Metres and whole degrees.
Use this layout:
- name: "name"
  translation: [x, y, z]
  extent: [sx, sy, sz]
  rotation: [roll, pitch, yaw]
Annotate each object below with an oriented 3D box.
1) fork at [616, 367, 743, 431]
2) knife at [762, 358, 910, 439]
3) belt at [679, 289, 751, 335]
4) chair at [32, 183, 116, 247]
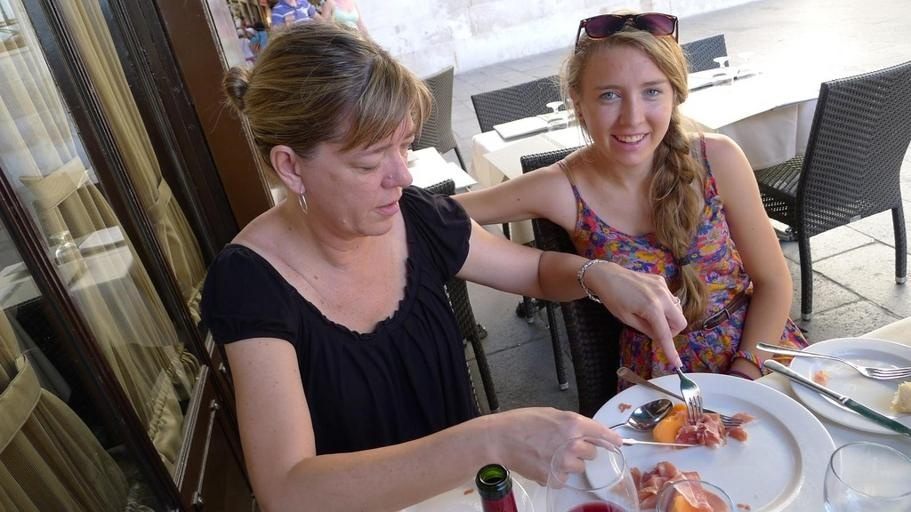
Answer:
- name: "fork"
  translation: [0.780, 0.497, 1.940]
  extent: [0.412, 0.045, 0.048]
  rotation: [22, 59, 29]
- name: "knife"
  translation: [1.274, 0.474, 1.848]
  extent: [0.471, 0.049, 0.053]
  rotation: [28, 44, 36]
- name: "belt"
  translation: [1.181, 0.213, 2.541]
  extent: [0.240, 0.063, 0.175]
  rotation: [-33, 2, 5]
- name: "chair"
  translation: [-1.511, -0.190, 2.211]
  extent: [0.176, 0.253, 0.165]
  rotation: [-19, 11, 11]
